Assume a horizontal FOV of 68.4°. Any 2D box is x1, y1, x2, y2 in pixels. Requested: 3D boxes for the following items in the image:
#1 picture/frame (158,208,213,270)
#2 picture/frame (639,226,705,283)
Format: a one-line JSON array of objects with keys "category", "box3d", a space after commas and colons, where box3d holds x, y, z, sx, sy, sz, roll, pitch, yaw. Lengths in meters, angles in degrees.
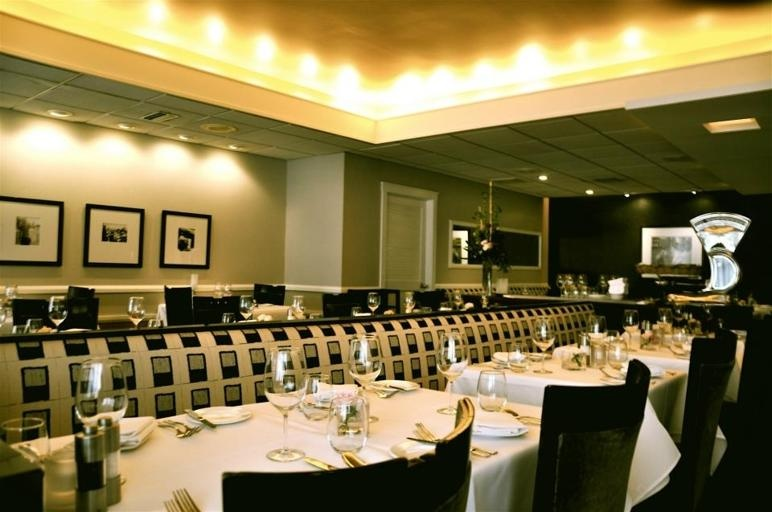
[{"category": "picture/frame", "box3d": [-3.124, -0.258, 8.763, 0.048, 1.049, 0.973, -3, -6, 44]}, {"category": "picture/frame", "box3d": [5.505, -0.029, 10.848, 1.226, 1.124, 0.088, -3, -11, 32]}]
